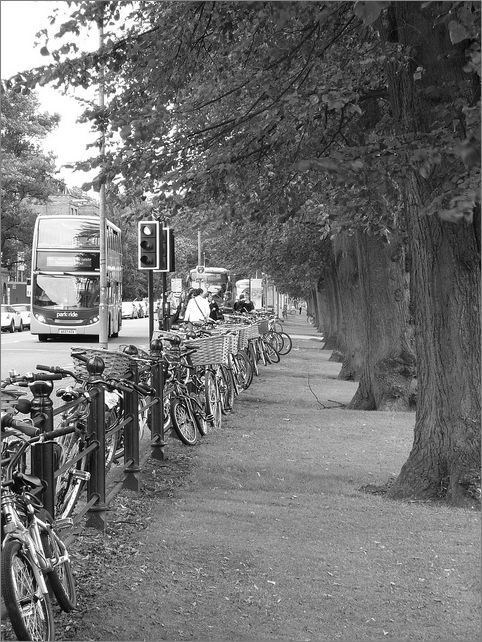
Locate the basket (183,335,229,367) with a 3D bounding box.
[{"bbox_3d":[-0.402,0.342,8.575,0.706,0.301,0.264,3,0,-44],"label":"basket"}]

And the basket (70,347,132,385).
[{"bbox_3d":[-1.028,0.282,5.248,0.250,0.179,0.329,1,-8,28],"label":"basket"}]

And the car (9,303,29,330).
[{"bbox_3d":[-12.987,-0.332,42.376,0.911,1.196,2.037,1,6,1],"label":"car"}]

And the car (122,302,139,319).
[{"bbox_3d":[-10.770,-1.101,68.514,1.138,1.121,4.689,3,0,-5],"label":"car"}]

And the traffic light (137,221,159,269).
[{"bbox_3d":[-1.431,-1.194,11.061,0.341,0.570,0.338,2,1,-10],"label":"traffic light"}]
